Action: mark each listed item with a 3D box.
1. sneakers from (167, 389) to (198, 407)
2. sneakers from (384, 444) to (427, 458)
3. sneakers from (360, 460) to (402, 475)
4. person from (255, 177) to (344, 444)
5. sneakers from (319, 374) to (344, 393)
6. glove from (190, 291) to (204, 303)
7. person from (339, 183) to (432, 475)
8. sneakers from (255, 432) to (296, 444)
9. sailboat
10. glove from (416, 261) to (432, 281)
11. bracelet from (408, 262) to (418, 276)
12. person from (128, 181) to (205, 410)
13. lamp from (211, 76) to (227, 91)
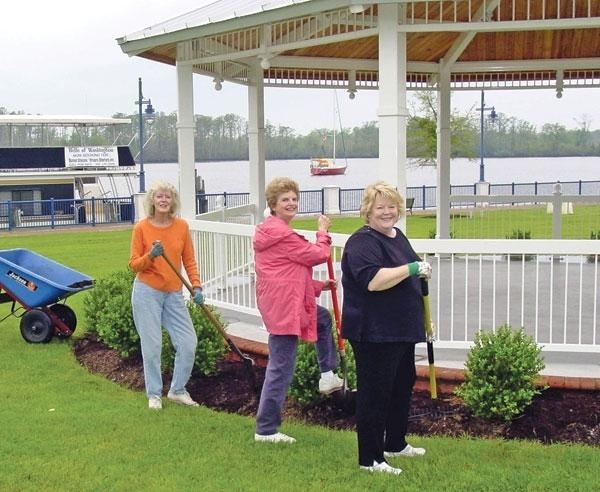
[{"bbox_3d":[-1.135,1.495,8.977,0.320,0.155,0.126,10,1,8],"label":"sneakers"},{"bbox_3d":[0.890,1.733,7.720,0.325,0.134,0.127,-1,-3,0],"label":"sneakers"},{"bbox_3d":[0.654,1.782,7.427,0.312,0.142,0.114,-1,0,11],"label":"sneakers"},{"bbox_3d":[-0.078,0.559,7.990,0.906,2.284,0.537,-11,15,-35],"label":"person"},{"bbox_3d":[0.273,1.258,8.404,0.105,0.140,0.281,6,8,39],"label":"sneakers"},{"bbox_3d":[-0.983,0.509,8.815,0.088,0.124,0.117,4,-12,10],"label":"glove"},{"bbox_3d":[0.682,0.669,7.362,0.702,2.273,0.585,-4,13,-9],"label":"person"},{"bbox_3d":[-0.208,1.666,7.905,0.345,0.155,0.125,-1,-3,4],"label":"sneakers"},{"bbox_3d":[3.271,-12.189,101.060,4.182,9.547,1.993,4,4,28],"label":"sailboat"},{"bbox_3d":[0.975,0.194,7.254,0.101,0.144,0.132,20,-2,-24],"label":"glove"},{"bbox_3d":[0.883,0.182,7.206,0.080,0.086,0.082,-1,9,5],"label":"bracelet"},{"bbox_3d":[-1.272,0.531,8.898,0.719,2.258,0.679,-11,15,-35],"label":"person"},{"bbox_3d":[-1.231,-2.455,13.931,0.123,0.201,0.410,-3,14,-3],"label":"lamp"}]
